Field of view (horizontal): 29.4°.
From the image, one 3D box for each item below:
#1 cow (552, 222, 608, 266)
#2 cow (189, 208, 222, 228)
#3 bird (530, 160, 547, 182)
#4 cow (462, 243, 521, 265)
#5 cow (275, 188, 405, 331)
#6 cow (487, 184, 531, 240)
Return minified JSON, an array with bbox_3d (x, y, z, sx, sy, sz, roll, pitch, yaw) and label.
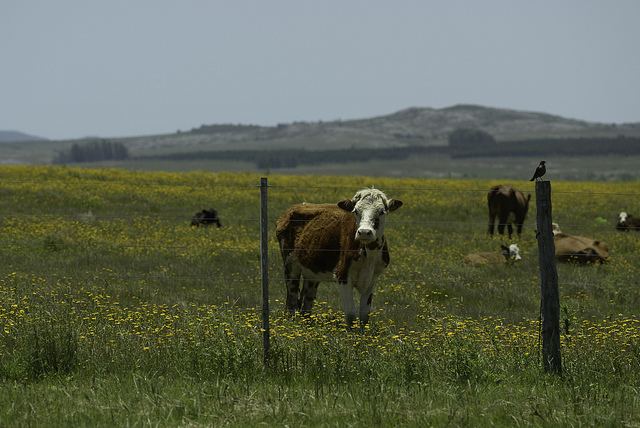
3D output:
[{"bbox_3d":[8.862,1.318,43.145,2.685,1.405,0.882,7,16,35],"label":"cow"},{"bbox_3d":[-4.315,0.136,45.542,0.720,0.712,1.413,4,8,35],"label":"cow"},{"bbox_3d":[6.393,-1.276,35.891,0.298,0.499,1.079,1,6,12],"label":"bird"},{"bbox_3d":[5.875,1.597,42.275,1.978,1.121,0.768,-3,15,-7],"label":"cow"},{"bbox_3d":[0.441,1.234,37.552,3.137,4.131,3.605,-1,6,-8],"label":"cow"},{"bbox_3d":[7.325,-0.103,47.983,1.549,2.119,3.758,1,6,8],"label":"cow"}]
